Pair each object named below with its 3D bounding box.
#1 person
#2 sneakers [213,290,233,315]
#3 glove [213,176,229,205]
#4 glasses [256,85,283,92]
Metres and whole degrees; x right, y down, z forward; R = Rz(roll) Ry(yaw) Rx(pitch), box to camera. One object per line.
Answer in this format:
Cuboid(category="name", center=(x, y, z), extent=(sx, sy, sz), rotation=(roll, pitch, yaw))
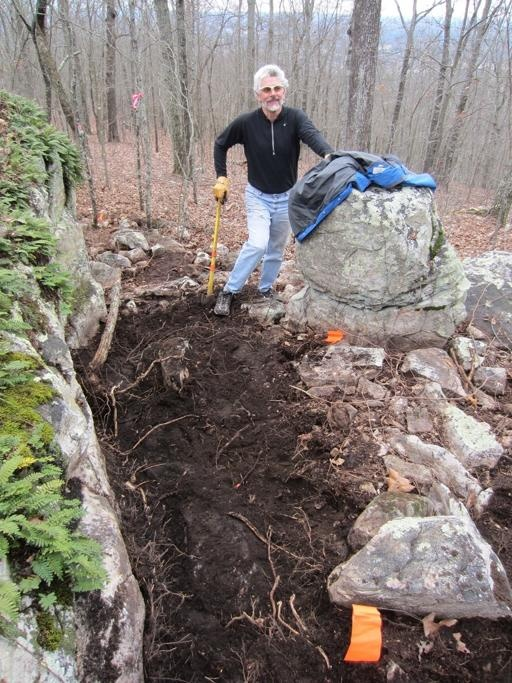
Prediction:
Cuboid(category="person", center=(0.083, -1.321, 4.881), extent=(0.940, 2.099, 0.716), rotation=(0, 29, -4))
Cuboid(category="sneakers", center=(-0.313, -0.353, 5.073), extent=(0.115, 0.129, 0.304), rotation=(12, 38, -17))
Cuboid(category="glove", center=(-0.329, -1.378, 4.889), extent=(0.135, 0.223, 0.108), rotation=(-10, -10, 3))
Cuboid(category="glasses", center=(0.113, -2.049, 4.376), extent=(0.177, 0.059, 0.070), rotation=(2, 29, -1))
